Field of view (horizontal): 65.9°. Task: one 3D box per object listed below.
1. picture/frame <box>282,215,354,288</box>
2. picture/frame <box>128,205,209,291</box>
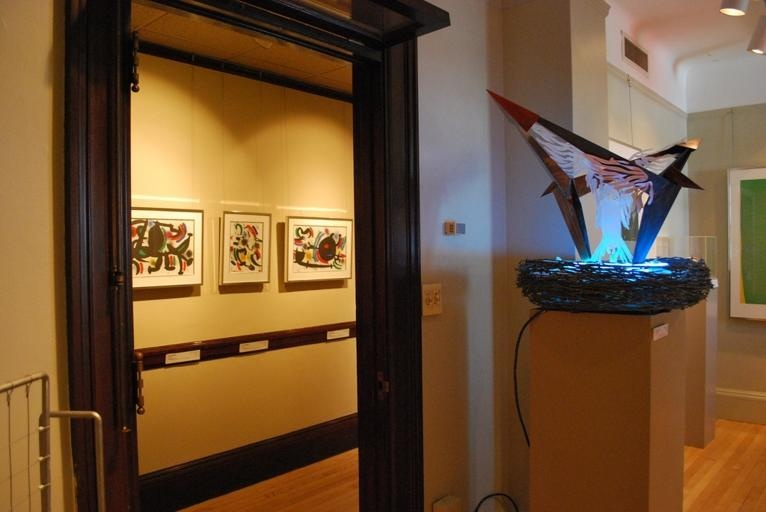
[{"bbox_3d":[-0.496,-0.044,4.264,0.499,0.430,0.049,-6,7,-40],"label":"picture/frame"},{"bbox_3d":[-1.290,-0.052,3.502,0.045,0.437,0.492,5,9,41],"label":"picture/frame"}]
